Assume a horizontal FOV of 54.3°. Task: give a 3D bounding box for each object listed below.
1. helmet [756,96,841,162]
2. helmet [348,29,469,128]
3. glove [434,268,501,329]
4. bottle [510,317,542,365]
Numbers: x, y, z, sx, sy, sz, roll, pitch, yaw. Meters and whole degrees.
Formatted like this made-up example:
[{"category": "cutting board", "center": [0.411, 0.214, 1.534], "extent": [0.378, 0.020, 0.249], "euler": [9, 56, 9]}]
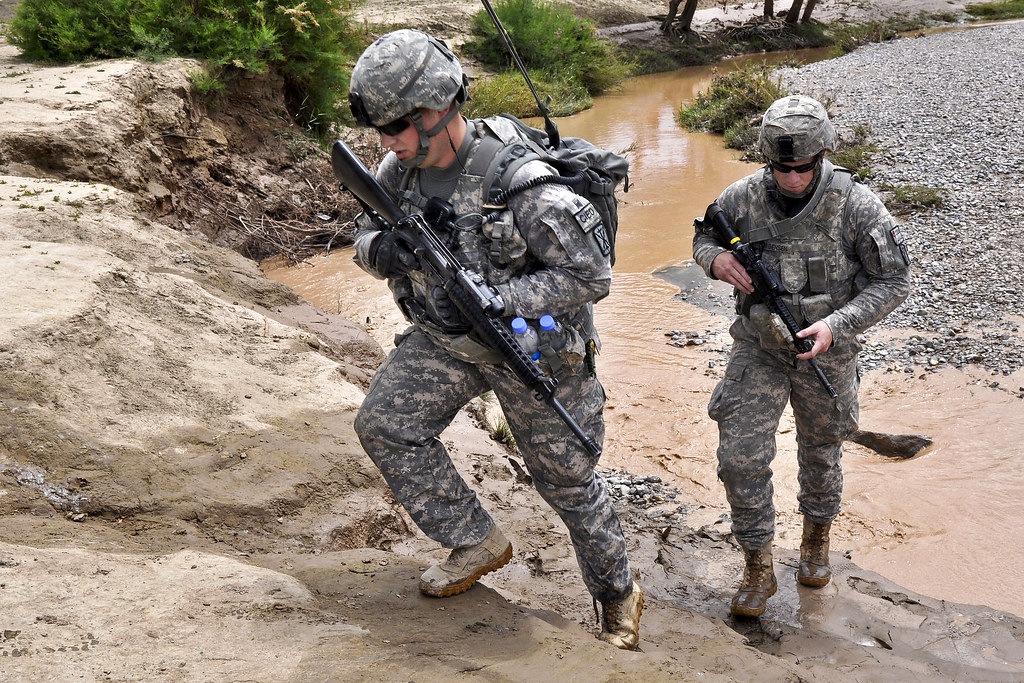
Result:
[{"category": "helmet", "center": [2.126, -1.574, 7.499], "extent": [0.559, 0.437, 0.471], "euler": [1, 32, 16]}, {"category": "helmet", "center": [-0.703, -1.706, 6.491], "extent": [0.524, 0.524, 0.610], "euler": [10, 36, 30]}, {"category": "glove", "center": [-0.303, -0.262, 6.490], "extent": [0.467, 0.374, 0.251], "euler": [-9, 33, 1]}, {"category": "bottle", "center": [0.103, -0.004, 6.537], "extent": [0.178, 0.329, 0.156], "euler": [-23, 36, -14]}]
